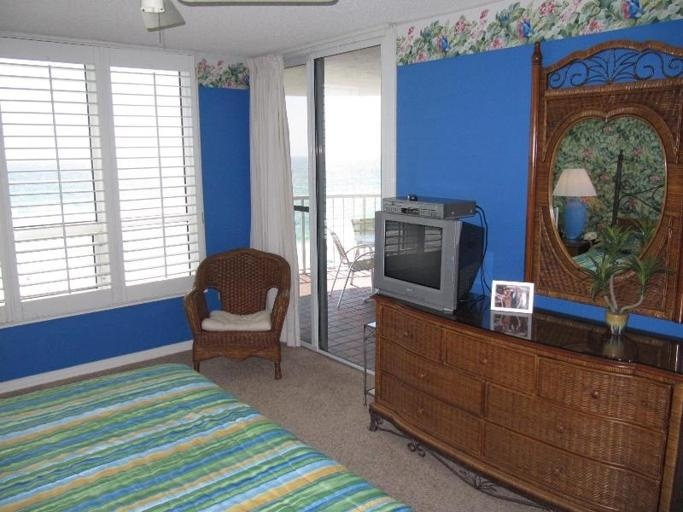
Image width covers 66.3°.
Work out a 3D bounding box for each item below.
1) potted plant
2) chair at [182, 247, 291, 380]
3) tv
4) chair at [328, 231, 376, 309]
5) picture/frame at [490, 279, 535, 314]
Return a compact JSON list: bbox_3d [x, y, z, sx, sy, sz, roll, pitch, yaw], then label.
[{"bbox_3d":[1.548,0.156,3.009,0.371,0.606,0.437,4,-9,-26],"label":"potted plant"},{"bbox_3d":[-0.926,0.522,4.807,0.894,1.032,0.823,2,9,2],"label":"chair"},{"bbox_3d":[0.649,0.004,3.668,0.498,0.605,0.707,-10,15,-40],"label":"tv"},{"bbox_3d":[0.075,0.027,5.648,0.456,0.645,0.415,-7,6,-23],"label":"chair"},{"bbox_3d":[1.076,0.264,3.301,0.213,0.178,0.015,1,5,22],"label":"picture/frame"}]
